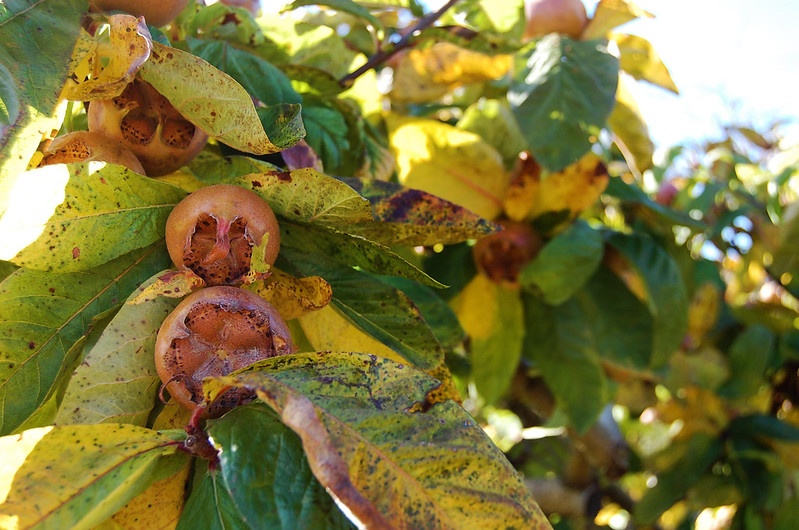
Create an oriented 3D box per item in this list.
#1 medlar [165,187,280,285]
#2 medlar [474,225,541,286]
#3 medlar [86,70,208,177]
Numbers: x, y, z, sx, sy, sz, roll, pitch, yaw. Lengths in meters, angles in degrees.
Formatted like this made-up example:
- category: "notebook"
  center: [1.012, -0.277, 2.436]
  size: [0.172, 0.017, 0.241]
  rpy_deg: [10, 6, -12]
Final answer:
- category: "medlar"
  center: [-0.183, -0.050, 0.934]
  size: [0.124, 0.073, 0.125]
  rpy_deg: [14, -41, 7]
- category: "medlar"
  center: [0.175, -0.025, 1.345]
  size: [0.089, 0.073, 0.104]
  rpy_deg: [-16, -78, 22]
- category: "medlar"
  center: [-0.298, -0.151, 0.991]
  size: [0.109, 0.073, 0.118]
  rpy_deg: [29, -2, 5]
